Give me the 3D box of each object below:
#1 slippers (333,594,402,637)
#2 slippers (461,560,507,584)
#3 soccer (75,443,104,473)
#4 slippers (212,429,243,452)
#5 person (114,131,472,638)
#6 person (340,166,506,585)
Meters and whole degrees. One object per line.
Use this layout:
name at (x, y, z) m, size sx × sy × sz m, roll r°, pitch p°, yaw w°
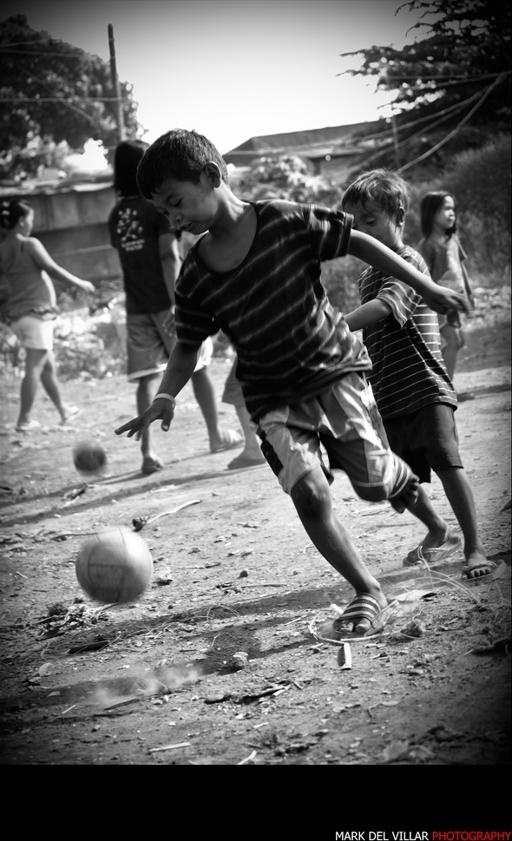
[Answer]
slippers at (0.296, 0.527, 2.087) m, size 0.170 × 0.107 × 0.279 m, roll -3°, pitch 7°, yaw 6°
slippers at (0.708, 0.470, 2.260) m, size 0.150 × 0.063 × 0.056 m, roll 5°, pitch -3°, yaw -24°
soccer at (-1.028, 0.227, 4.508) m, size 0.186 × 0.177 × 0.260 m, roll -8°, pitch 13°, yaw -16°
slippers at (-0.167, 0.105, 4.664) m, size 0.082 × 0.109 × 0.259 m, roll 6°, pitch 22°, yaw 27°
person at (0.099, -0.115, 2.070) m, size 0.858 × 1.378 × 0.375 m, roll -1°, pitch 13°, yaw 16°
person at (0.481, -0.166, 2.498) m, size 0.575 × 1.265 × 0.624 m, roll 2°, pitch 12°, yaw 2°
